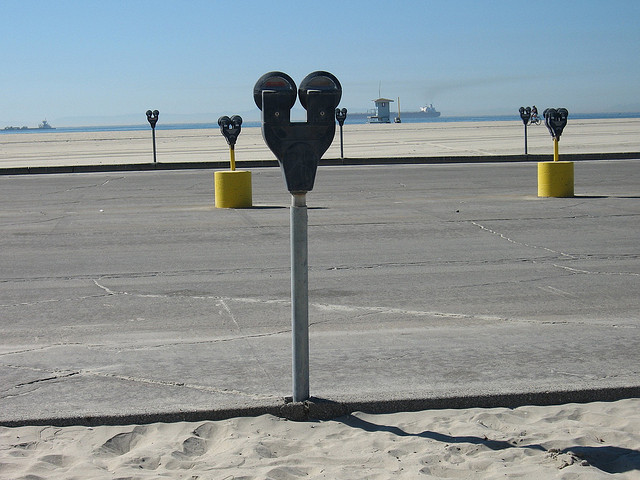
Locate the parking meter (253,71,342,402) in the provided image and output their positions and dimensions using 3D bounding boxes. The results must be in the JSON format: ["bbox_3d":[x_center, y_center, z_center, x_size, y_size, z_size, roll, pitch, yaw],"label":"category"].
[{"bbox_3d":[-0.123,-0.029,10.559,0.718,2.973,0.670,-6,15,-17],"label":"parking meter"}]

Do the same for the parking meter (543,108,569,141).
[{"bbox_3d":[4.738,-2.324,22.769,0.417,0.639,0.733,1,15,10],"label":"parking meter"}]

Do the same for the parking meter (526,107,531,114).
[{"bbox_3d":[6.911,-4.223,37.550,0.134,0.182,0.721,2,15,13],"label":"parking meter"}]

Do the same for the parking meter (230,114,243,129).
[{"bbox_3d":[-1.648,-2.310,22.526,0.205,0.333,0.794,-3,15,-5],"label":"parking meter"}]

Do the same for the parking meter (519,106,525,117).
[{"bbox_3d":[6.692,-4.164,37.427,0.123,0.232,0.373,1,15,11],"label":"parking meter"}]
